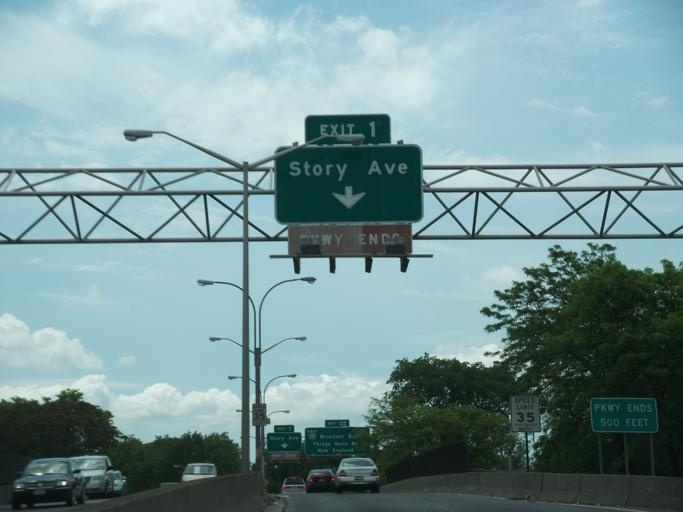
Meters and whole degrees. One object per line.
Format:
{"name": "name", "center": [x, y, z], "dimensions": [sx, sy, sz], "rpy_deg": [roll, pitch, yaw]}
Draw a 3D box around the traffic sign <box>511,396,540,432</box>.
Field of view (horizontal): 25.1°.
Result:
{"name": "traffic sign", "center": [9.377, 8.061, 78.173], "dimensions": [1.690, 2.017, 0.221], "rpy_deg": [-2, 0, 5]}
